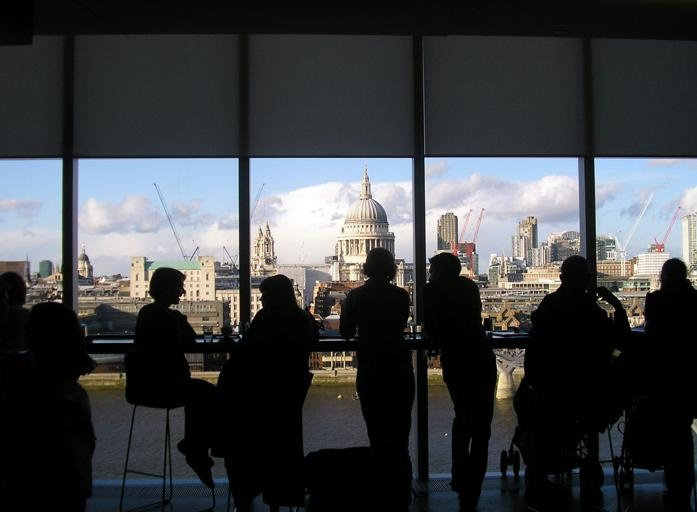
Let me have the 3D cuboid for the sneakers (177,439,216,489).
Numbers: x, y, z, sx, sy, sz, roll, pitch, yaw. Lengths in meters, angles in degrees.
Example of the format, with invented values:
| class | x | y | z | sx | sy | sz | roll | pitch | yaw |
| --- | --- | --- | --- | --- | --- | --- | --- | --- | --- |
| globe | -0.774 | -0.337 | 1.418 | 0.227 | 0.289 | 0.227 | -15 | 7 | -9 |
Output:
| class | x | y | z | sx | sy | sz | roll | pitch | yaw |
| --- | --- | --- | --- | --- | --- | --- | --- | --- | --- |
| sneakers | -1.092 | 1.517 | 8.207 | 0.218 | 0.392 | 0.295 | -1 | -1 | 11 |

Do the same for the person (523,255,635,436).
| class | x | y | z | sx | sy | sz | roll | pitch | yaw |
| --- | --- | --- | --- | --- | --- | --- | --- | --- | --- |
| person | 1.599 | 0.641 | 8.085 | 0.649 | 1.285 | 0.319 | -1 | -1 | 9 |

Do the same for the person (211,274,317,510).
| class | x | y | z | sx | sy | sz | roll | pitch | yaw |
| --- | --- | --- | --- | --- | --- | --- | --- | --- | --- |
| person | -0.541 | 0.930 | 7.700 | 0.700 | 1.605 | 0.387 | -1 | -1 | -9 |

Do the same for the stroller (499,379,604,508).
| class | x | y | z | sx | sy | sz | roll | pitch | yaw |
| --- | --- | --- | --- | --- | --- | --- | --- | --- | --- |
| stroller | 1.519 | 1.422 | 8.283 | 0.761 | 1.120 | 1.008 | 0 | 6 | 6 |

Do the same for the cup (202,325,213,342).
| class | x | y | z | sx | sy | sz | roll | pitch | yaw |
| --- | --- | --- | --- | --- | --- | --- | --- | --- | --- |
| cup | -1.091 | 0.587 | 8.769 | 0.101 | 0.141 | 0.095 | 0 | -10 | 0 |

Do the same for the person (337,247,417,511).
| class | x | y | z | sx | sy | sz | roll | pitch | yaw |
| --- | --- | --- | --- | --- | --- | --- | --- | --- | --- |
| person | 0.217 | 0.830 | 7.887 | 0.520 | 1.781 | 0.639 | -1 | -1 | -3 |

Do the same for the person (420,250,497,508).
| class | x | y | z | sx | sy | sz | roll | pitch | yaw |
| --- | --- | --- | --- | --- | --- | --- | --- | --- | --- |
| person | 0.826 | 0.914 | 8.155 | 0.465 | 1.887 | 0.374 | -1 | -1 | 23 |
